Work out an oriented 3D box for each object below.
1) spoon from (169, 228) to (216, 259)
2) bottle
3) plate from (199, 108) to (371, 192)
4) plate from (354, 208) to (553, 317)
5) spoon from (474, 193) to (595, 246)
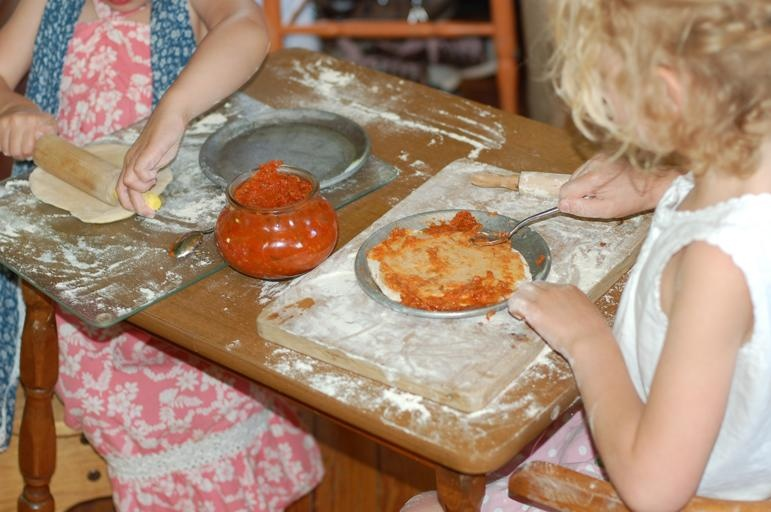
[{"bbox_3d":[-0.373,-0.027,1.324,0.027,0.014,0.101,47,52,8],"label":"spoon"},{"bbox_3d":[-0.209,-0.077,1.307,0.239,0.159,0.231,2,42,-2],"label":"bottle"},{"bbox_3d":[-0.238,-0.261,1.559,0.258,0.028,0.253,-13,38,-12],"label":"plate"},{"bbox_3d":[0.132,0.025,1.312,0.246,0.036,0.237,-3,35,1],"label":"plate"},{"bbox_3d":[0.289,-0.069,1.313,0.213,0.037,0.033,-20,85,-1],"label":"spoon"}]
